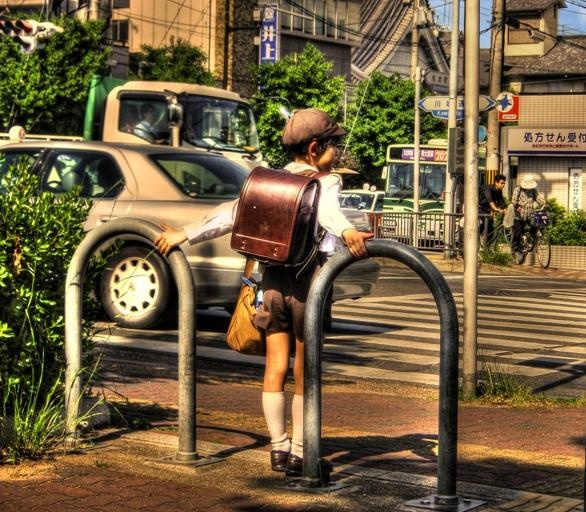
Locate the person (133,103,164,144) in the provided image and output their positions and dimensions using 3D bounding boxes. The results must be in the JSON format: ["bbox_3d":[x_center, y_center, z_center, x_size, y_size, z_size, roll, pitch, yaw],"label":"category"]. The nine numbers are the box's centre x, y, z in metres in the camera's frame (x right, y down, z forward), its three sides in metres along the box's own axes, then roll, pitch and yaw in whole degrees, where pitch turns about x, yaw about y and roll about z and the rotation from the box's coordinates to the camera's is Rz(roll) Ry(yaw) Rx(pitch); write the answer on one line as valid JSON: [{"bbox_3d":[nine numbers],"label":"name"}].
[{"bbox_3d":[-2.723,-2.464,19.376,0.394,0.765,0.814,-12,-9,20],"label":"person"}]

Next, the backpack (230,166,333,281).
[{"bbox_3d":[-0.079,-0.200,5.538,0.399,0.496,0.271,16,18,28],"label":"backpack"}]

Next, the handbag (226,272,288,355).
[{"bbox_3d":[-0.248,0.327,5.788,0.328,0.664,0.633,2,0,-8],"label":"handbag"}]

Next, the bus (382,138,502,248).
[{"bbox_3d":[5.129,-2.818,36.622,2.557,3.418,7.257,4,15,19],"label":"bus"}]

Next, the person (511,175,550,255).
[{"bbox_3d":[5.079,-0.874,22.625,0.583,1.364,0.644,2,1,12],"label":"person"}]

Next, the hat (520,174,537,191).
[{"bbox_3d":[5.164,-1.602,22.665,0.316,0.214,0.402,3,2,-2],"label":"hat"}]

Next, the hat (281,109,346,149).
[{"bbox_3d":[0.110,-0.729,5.835,0.391,0.212,0.301,-14,10,-2],"label":"hat"}]
